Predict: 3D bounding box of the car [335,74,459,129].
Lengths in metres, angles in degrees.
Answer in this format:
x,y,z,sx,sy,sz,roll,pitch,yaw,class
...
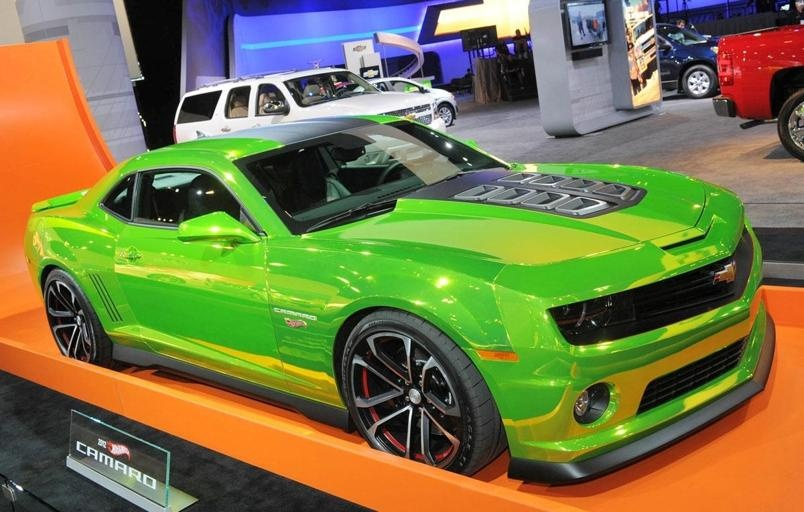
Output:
x,y,z,sx,sy,sz,roll,pitch,yaw,class
-0.133,-5.871,18.685,2.848,2.087,4.945,-16,21,-4,car

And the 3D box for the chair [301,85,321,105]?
x,y,z,sx,sy,sz,roll,pitch,yaw,class
-2.291,-4.080,11.968,0.549,0.603,0.285,0,-27,-6,chair

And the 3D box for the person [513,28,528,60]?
x,y,z,sx,sy,sz,roll,pitch,yaw,class
6.083,-10.709,24.257,0.727,1.237,1.277,-4,17,16,person

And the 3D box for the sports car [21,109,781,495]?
x,y,z,sx,sy,sz,roll,pitch,yaw,class
-0.606,0.105,3.435,4.719,1.146,2.458,8,18,37,sports car
